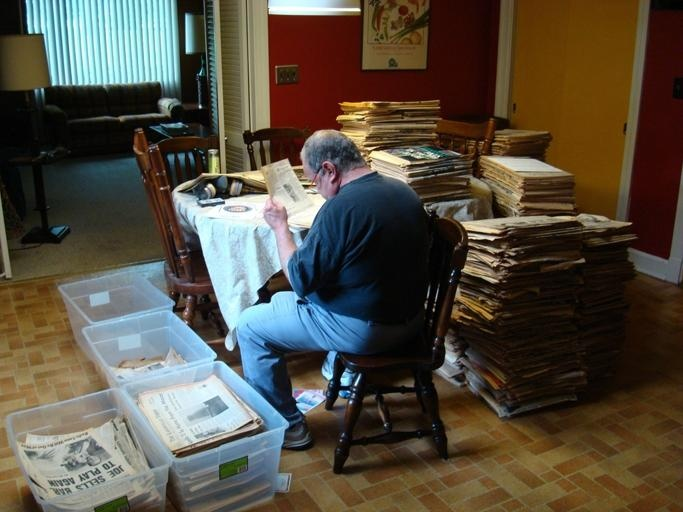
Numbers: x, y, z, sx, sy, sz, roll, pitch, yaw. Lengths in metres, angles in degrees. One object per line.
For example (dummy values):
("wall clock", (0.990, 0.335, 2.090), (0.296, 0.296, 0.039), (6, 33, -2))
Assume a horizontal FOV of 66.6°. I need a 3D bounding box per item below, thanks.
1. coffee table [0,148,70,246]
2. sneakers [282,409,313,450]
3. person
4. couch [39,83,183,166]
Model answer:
("coffee table", (-2.727, -0.552, 4.640), (0.545, 0.764, 0.654), (-10, 23, -15))
("sneakers", (-0.199, 0.785, 2.386), (0.083, 0.100, 0.220), (-3, 10, -17))
("person", (-0.011, 0.157, 2.343), (0.776, 1.365, 0.805), (-7, 15, -32))
("couch", (-3.528, -2.162, 8.117), (1.863, 0.988, 0.898), (-14, 25, -30))
